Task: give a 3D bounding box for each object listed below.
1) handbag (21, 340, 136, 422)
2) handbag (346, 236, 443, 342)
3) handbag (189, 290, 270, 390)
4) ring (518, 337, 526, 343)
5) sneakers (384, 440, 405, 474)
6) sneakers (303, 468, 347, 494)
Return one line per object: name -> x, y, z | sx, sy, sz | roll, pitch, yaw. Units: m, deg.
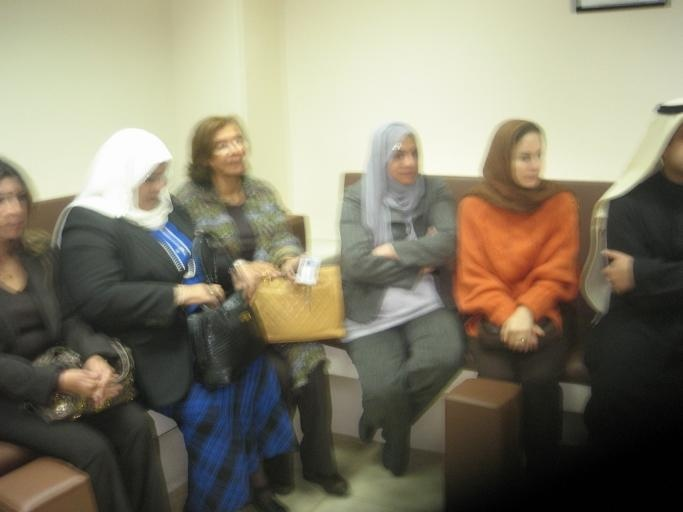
handbag -> -0.934, 0.472, 2.018 | 0.322, 0.249, 0.121 | -11, -3, -21
handbag -> 0.221, 0.144, 2.381 | 0.326, 0.123, 0.324 | -22, 5, -23
handbag -> -0.469, 0.342, 2.262 | 0.165, 0.307, 0.290 | 3, 39, 48
ring -> 0.725, 0.337, 2.246 | 0.027, 0.025, 0.007 | -9, 0, 6
sneakers -> 0.221, 0.844, 2.321 | 0.114, 0.116, 0.066 | 5, 26, 18
sneakers -> -0.073, 0.943, 2.366 | 0.185, 0.076, 0.063 | 7, 16, 34
